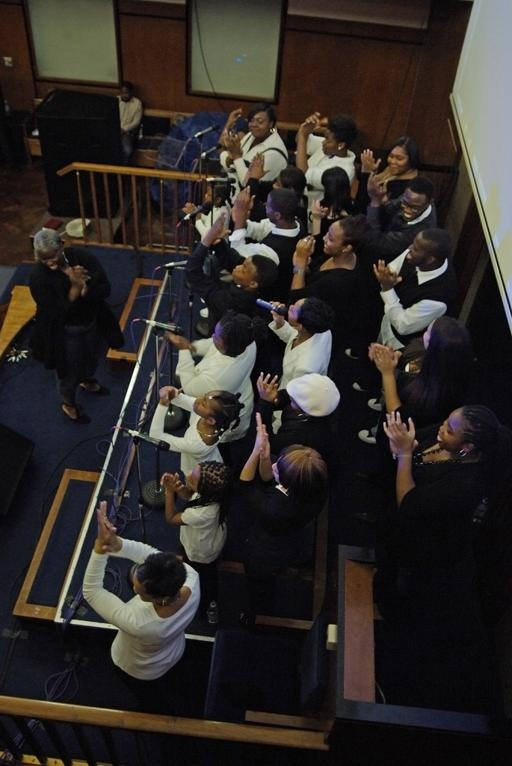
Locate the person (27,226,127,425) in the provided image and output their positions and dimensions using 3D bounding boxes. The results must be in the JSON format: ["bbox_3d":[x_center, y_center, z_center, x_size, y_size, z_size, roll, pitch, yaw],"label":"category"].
[{"bbox_3d":[-1.224,-0.418,3.991,0.462,1.438,0.555,12,40,13],"label":"person"}]

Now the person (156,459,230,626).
[{"bbox_3d":[-0.297,0.771,2.838,0.309,0.955,0.261,0,32,-10],"label":"person"}]

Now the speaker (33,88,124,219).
[{"bbox_3d":[-2.044,-2.755,7.082,0.931,1.351,0.862,-9,46,-19],"label":"speaker"}]

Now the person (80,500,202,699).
[{"bbox_3d":[-0.518,1.038,2.539,0.469,1.044,0.388,15,36,1],"label":"person"}]

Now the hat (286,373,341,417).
[{"bbox_3d":[0.282,0.063,2.849,0.213,0.179,0.206,-25,46,-30],"label":"hat"}]

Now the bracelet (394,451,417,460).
[{"bbox_3d":[0.674,0.318,2.640,0.065,0.029,0.060,0,-2,-8],"label":"bracelet"}]

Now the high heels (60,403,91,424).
[{"bbox_3d":[-1.310,0.230,4.293,0.115,0.145,0.209,-36,83,-31],"label":"high heels"}]

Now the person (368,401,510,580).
[{"bbox_3d":[0.763,0.454,2.496,0.424,0.832,0.613,6,39,6],"label":"person"}]

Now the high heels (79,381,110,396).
[{"bbox_3d":[-1.223,0.049,4.485,0.238,0.094,0.095,14,61,17],"label":"high heels"}]

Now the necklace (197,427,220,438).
[{"bbox_3d":[-0.212,0.231,2.698,0.060,0.024,0.045,23,33,17],"label":"necklace"}]
